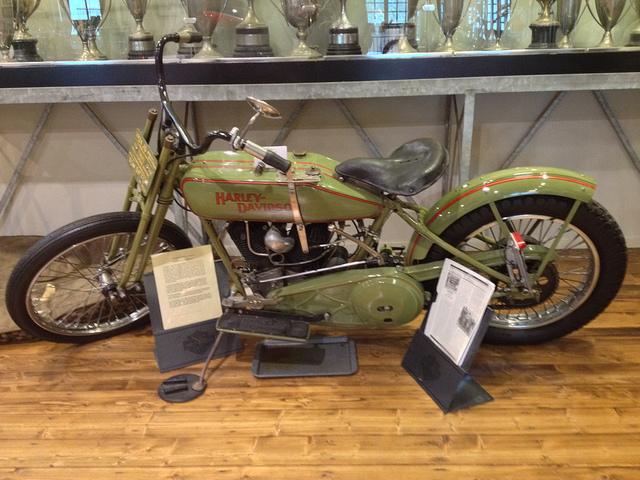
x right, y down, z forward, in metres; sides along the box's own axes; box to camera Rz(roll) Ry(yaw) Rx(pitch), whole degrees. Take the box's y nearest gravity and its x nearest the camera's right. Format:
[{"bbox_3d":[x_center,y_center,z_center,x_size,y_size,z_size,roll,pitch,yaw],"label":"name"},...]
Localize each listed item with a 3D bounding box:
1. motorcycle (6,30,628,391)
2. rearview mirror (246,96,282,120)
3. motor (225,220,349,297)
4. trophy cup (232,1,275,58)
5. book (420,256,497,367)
[{"bbox_3d":[0.008,-0.197,2.331,2.973,1.433,1.040,-4,33,-5],"label":"motorcycle"},{"bbox_3d":[-0.216,-0.508,1.897,0.173,0.040,0.164,25,10,-17],"label":"rearview mirror"},{"bbox_3d":[-0.141,0.075,2.208,0.536,0.371,0.130,-2,33,-1],"label":"motor"},{"bbox_3d":[-0.359,-1.086,2.688,0.209,0.354,0.192,5,20,-2],"label":"trophy cup"},{"bbox_3d":[0.584,0.293,2.134,0.058,0.493,0.363,5,26,-36],"label":"book"}]
